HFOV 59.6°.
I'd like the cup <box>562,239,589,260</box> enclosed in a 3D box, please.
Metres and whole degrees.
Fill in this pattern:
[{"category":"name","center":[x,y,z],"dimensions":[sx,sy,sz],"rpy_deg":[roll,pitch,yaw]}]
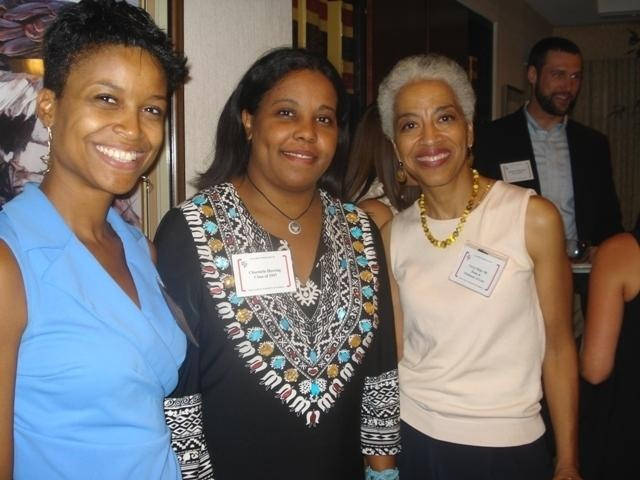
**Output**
[{"category":"cup","center":[1.399,0.059,3.060],"dimensions":[0.110,0.099,0.131],"rpy_deg":[0,-7,4]}]

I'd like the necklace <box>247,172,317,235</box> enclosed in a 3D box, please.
[{"category":"necklace","center":[-0.154,-0.140,2.152],"dimensions":[0.242,0.230,0.018],"rpy_deg":[-4,15,-14]}]
